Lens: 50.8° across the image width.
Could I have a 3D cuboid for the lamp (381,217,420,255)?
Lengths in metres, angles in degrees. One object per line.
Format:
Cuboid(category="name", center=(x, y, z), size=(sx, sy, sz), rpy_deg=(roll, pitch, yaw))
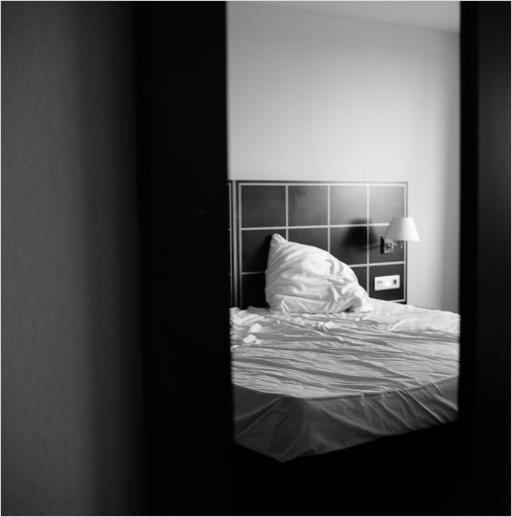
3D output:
Cuboid(category="lamp", center=(0.748, -0.115, 2.838), size=(0.169, 0.214, 0.184), rpy_deg=(-2, 4, -31))
